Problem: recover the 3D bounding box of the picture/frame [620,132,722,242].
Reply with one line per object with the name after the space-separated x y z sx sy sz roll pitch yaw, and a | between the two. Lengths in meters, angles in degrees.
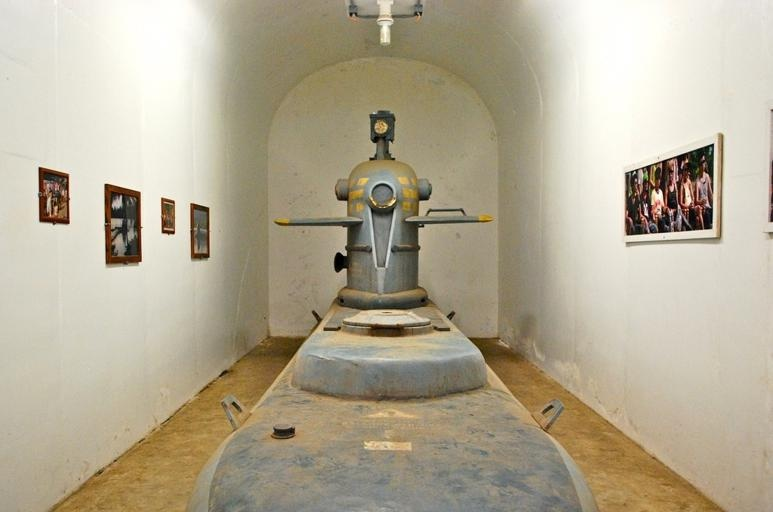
2.264 -0.476 4.505 0.837 0.698 0.017 -13 15 -10 | picture/frame
